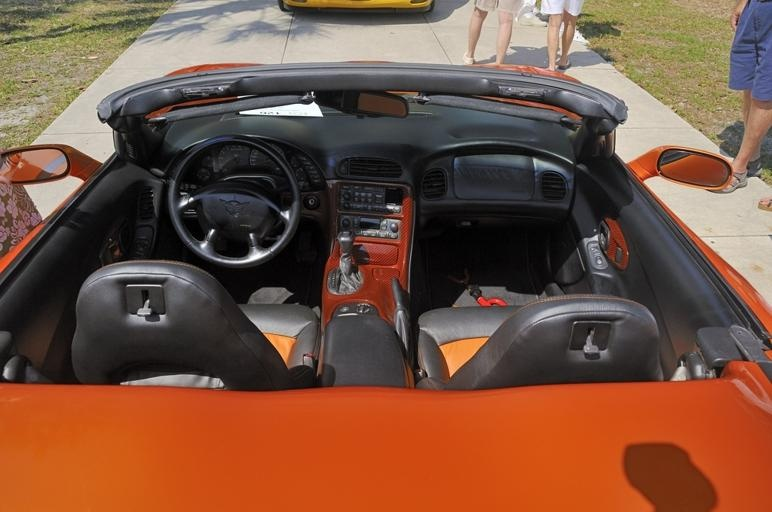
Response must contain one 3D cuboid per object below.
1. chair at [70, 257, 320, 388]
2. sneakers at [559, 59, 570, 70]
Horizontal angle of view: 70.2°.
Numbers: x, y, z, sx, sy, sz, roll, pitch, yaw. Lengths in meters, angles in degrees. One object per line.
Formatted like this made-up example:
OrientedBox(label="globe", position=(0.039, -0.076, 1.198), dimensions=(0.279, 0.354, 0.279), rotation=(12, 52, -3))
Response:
OrientedBox(label="chair", position=(-0.733, 0.271, 2.273), dimensions=(0.726, 0.492, 0.698), rotation=(4, 19, 2))
OrientedBox(label="sneakers", position=(2.236, -2.429, 6.923), dimensions=(0.100, 0.097, 0.260), rotation=(0, 29, 19))
